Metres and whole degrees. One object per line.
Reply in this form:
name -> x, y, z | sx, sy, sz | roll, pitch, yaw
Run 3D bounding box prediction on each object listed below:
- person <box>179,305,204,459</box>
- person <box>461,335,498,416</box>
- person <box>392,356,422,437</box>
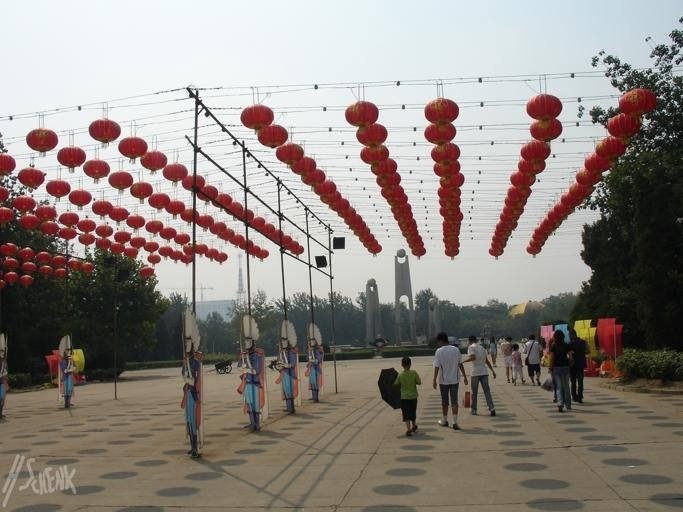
person -> -3.433, 2.802, 17.523 | 0.433, 3.386, 1.332 | -1, -9, -11
person -> 3.525, 3.068, 20.711 | 1.074, 2.979, 1.269 | 1, 1, 19
person -> 1.653, 3.381, 18.922 | 0.577, 1.865, 1.478 | -3, -9, 4
